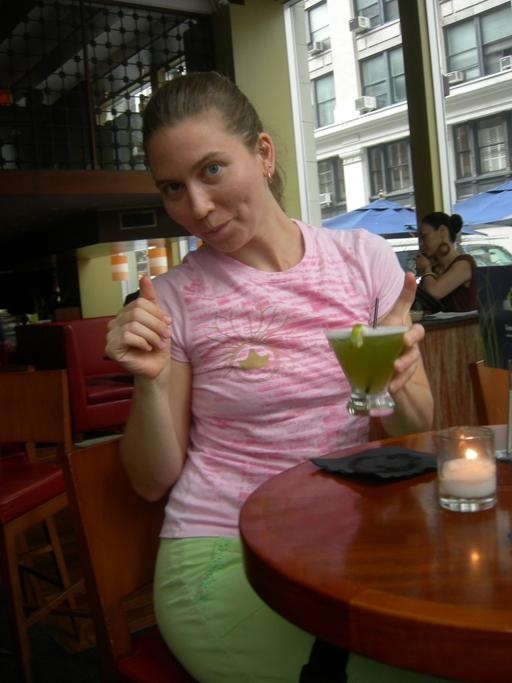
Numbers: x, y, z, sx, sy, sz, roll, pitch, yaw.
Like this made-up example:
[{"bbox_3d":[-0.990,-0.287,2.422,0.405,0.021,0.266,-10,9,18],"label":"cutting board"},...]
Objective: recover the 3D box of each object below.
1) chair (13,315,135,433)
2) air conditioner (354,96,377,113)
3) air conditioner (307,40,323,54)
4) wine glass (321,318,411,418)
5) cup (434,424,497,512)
[{"bbox_3d":[-1.440,0.326,5.163,0.907,0.899,1.282,1,2,37],"label":"chair"},{"bbox_3d":[1.326,-2.835,6.603,0.228,0.173,0.331,-3,7,7],"label":"air conditioner"},{"bbox_3d":[0.765,-3.740,7.005,0.111,0.182,0.198,-8,16,-26],"label":"air conditioner"},{"bbox_3d":[0.184,0.038,0.927,0.156,0.147,0.152,-2,7,12],"label":"wine glass"},{"bbox_3d":[0.278,0.172,0.745,0.089,0.095,0.087,2,-3,0],"label":"cup"}]
